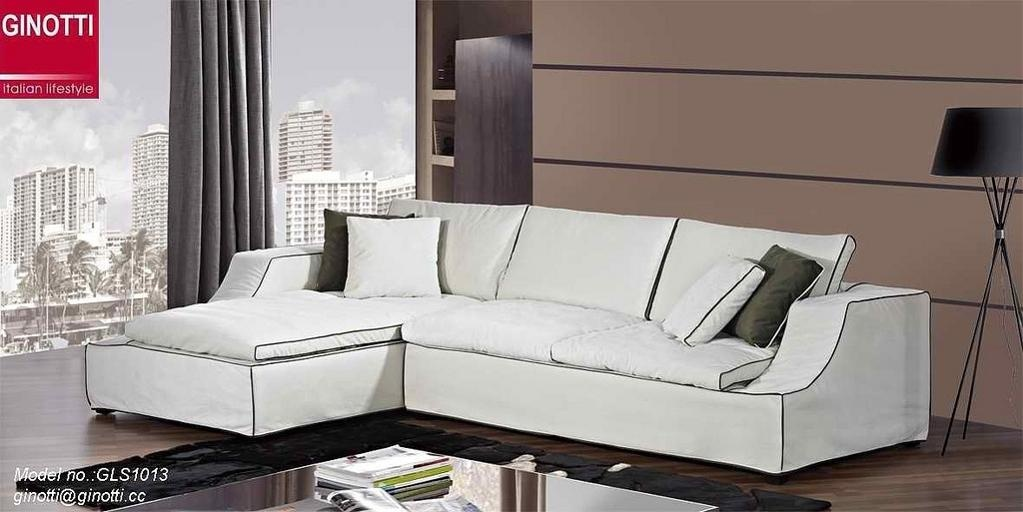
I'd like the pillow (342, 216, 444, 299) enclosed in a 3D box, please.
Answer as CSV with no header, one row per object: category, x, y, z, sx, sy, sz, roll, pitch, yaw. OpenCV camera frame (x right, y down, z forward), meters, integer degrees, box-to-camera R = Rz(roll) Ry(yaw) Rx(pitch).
pillow,-0.977,0.033,6.416,0.840,0.548,0.253,1,-7,-10

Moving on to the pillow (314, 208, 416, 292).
pillow,-1.345,-0.077,6.854,0.361,0.699,0.912,9,5,26

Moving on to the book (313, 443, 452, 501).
book,-0.641,1.148,4.282,0.391,0.107,0.394,2,3,43

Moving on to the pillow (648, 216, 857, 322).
pillow,1.651,0.028,5.879,0.260,0.842,1.068,36,-19,-36

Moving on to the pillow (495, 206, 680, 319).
pillow,0.564,0.050,6.202,1.365,0.805,0.274,10,-10,27
